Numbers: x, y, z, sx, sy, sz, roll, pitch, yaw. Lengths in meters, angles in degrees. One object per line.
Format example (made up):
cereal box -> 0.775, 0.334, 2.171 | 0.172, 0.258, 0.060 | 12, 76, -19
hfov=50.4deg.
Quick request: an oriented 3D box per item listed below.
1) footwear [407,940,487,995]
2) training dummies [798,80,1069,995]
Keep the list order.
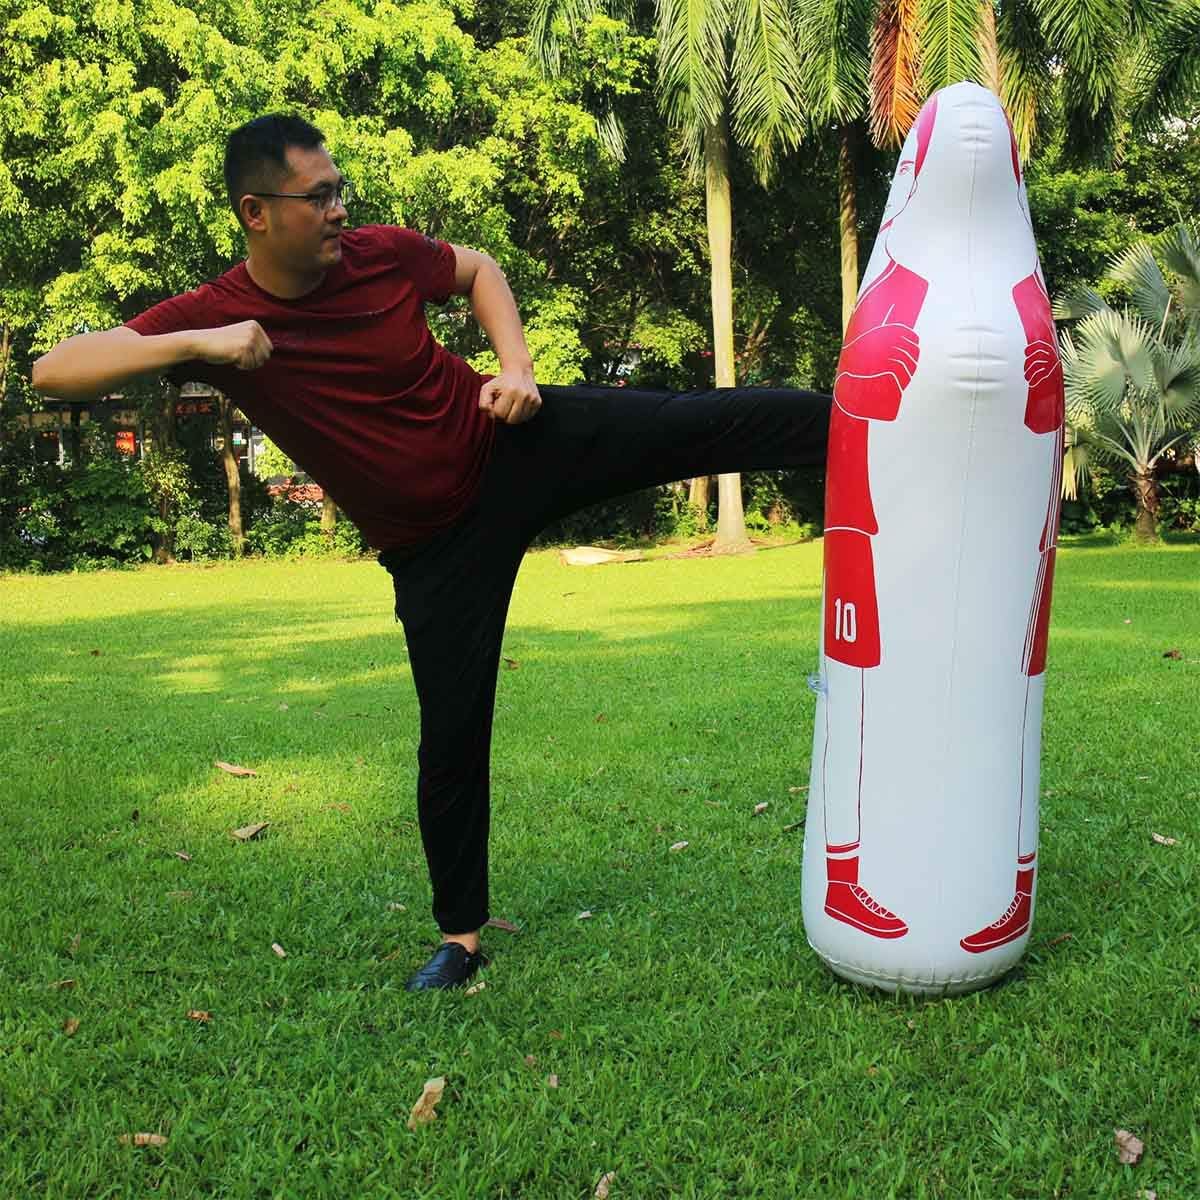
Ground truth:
footwear -> -0.432, 1.049, 3.592 | 0.084, 0.085, 0.205 | 0, -2, 31
training dummies -> 0.889, -0.143, 3.374 | 0.588, 2.330, 0.572 | 2, 11, 21
